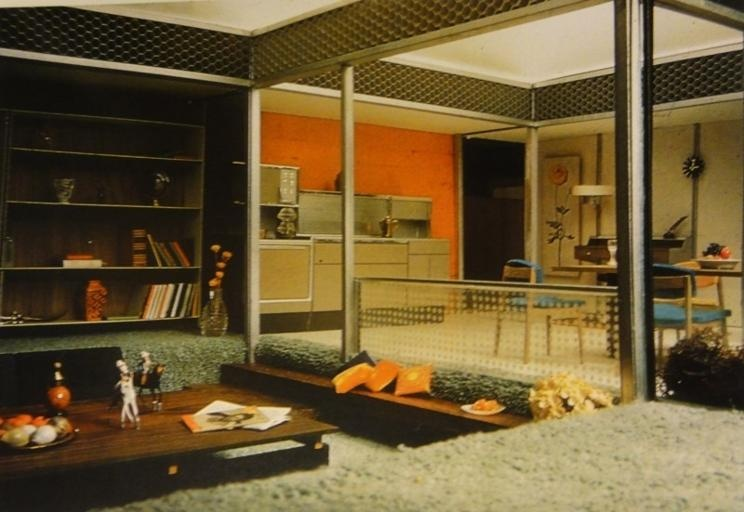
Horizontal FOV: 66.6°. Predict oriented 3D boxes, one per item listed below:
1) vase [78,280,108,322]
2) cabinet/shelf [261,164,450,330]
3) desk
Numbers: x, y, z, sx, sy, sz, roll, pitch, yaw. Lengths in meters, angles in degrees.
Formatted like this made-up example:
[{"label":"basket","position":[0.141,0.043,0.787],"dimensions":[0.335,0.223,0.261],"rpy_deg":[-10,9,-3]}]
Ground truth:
[{"label":"vase","position":[-2.382,0.396,4.903],"dimensions":[0.199,0.333,0.325],"rpy_deg":[12,6,-31]},{"label":"cabinet/shelf","position":[-0.285,-0.094,5.987],"dimensions":[2.707,1.357,0.801],"rpy_deg":[0,-3,-32]},{"label":"desk","position":[2.131,0.314,4.386],"dimensions":[1.091,0.777,1.055],"rpy_deg":[-2,3,-32]}]
